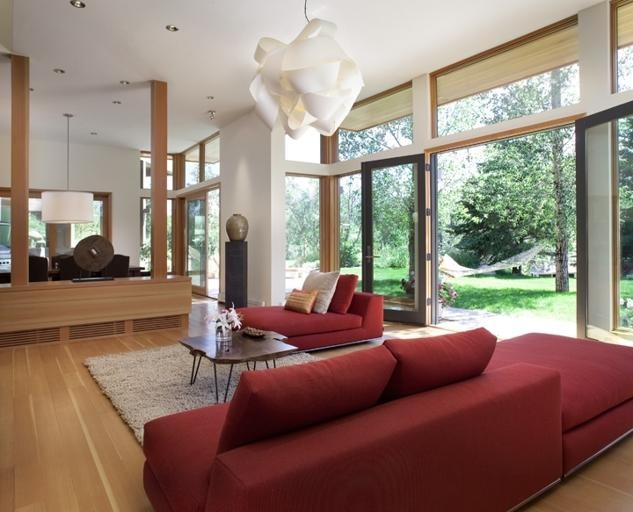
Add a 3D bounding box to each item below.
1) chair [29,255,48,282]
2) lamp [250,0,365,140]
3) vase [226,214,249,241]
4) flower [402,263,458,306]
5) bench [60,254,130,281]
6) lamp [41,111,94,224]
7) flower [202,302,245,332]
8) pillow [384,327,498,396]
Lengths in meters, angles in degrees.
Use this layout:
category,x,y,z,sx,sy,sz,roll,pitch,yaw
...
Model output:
category,x,y,z,sx,sy,sz,roll,pitch,yaw
chair,-3.506,0.164,5.700,0.239,0.362,0.296,1,0,-30
lamp,-0.075,-1.219,3.124,0.591,0.728,0.752,-8,11,-42
vase,-1.298,-0.419,7.097,0.369,0.469,0.376,3,-7,-26
flower,1.777,0.532,7.046,0.783,0.456,0.847,3,0,-10
bench,-3.056,0.166,6.201,0.705,0.357,0.836,1,8,9
lamp,-3.391,-1.296,6.173,0.703,1.351,0.729,1,-2,3
flower,-0.997,0.655,4.864,0.431,0.195,0.431,4,6,-33
pillow,0.606,0.513,2.225,0.620,0.286,0.209,-5,16,-25
